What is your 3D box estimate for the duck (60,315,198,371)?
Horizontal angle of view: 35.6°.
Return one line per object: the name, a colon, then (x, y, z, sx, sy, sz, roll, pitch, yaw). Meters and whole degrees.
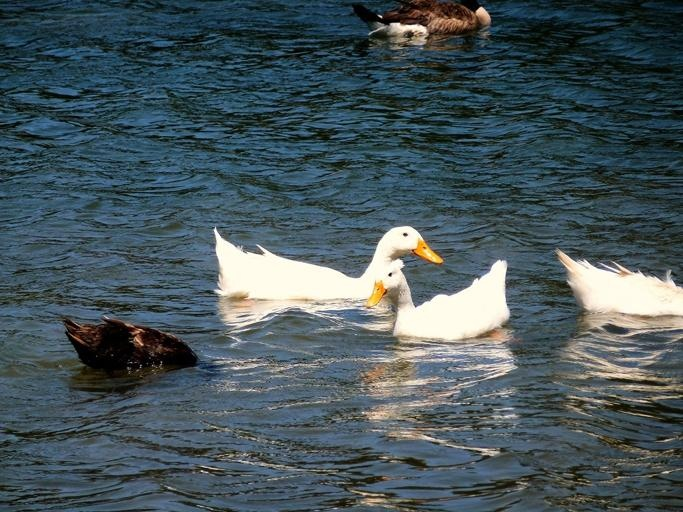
duck: (-2.849, 1.095, 13.572, 1.662, 0.747, 0.591, 21, 12, -37)
